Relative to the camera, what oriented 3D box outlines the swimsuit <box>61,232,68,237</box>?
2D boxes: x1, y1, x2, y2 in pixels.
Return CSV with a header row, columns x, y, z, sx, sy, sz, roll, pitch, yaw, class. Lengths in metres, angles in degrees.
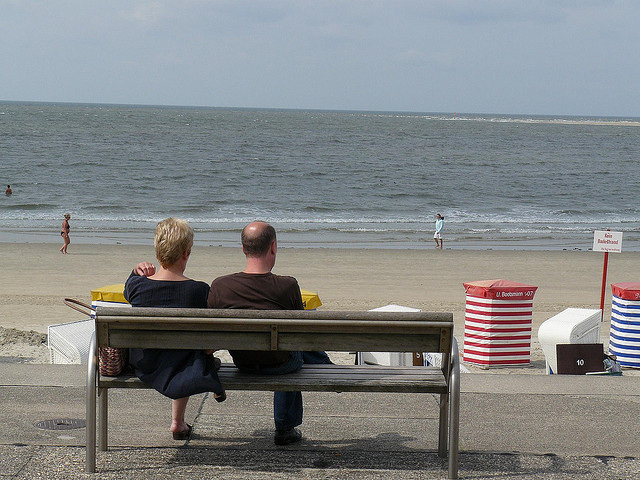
x,y,z,sx,sy,sz,roll,pitch,yaw,class
-9.113,-0.154,51.789,0.231,0.201,0.229,-2,0,-43,swimsuit
